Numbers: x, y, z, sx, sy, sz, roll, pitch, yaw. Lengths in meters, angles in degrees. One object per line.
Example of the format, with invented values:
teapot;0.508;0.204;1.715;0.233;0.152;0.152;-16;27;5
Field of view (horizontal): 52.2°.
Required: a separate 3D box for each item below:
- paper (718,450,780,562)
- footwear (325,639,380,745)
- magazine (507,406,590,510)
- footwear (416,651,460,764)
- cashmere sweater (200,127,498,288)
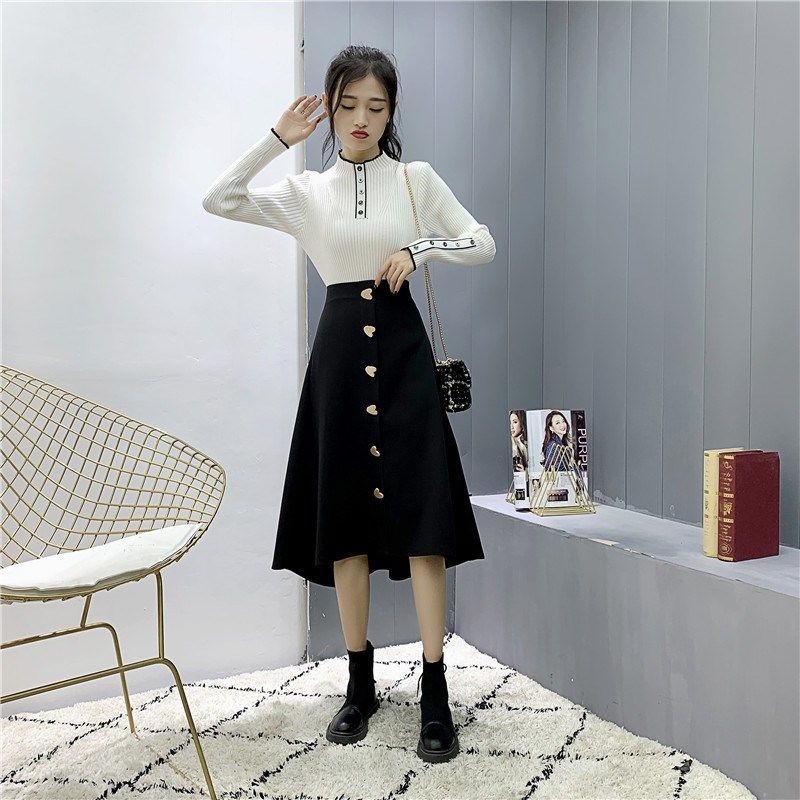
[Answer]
paper;0.839;0.258;1.970;0.173;0.358;0.103;2;-3;-24
footwear;-0.114;0.727;2.063;0.071;0.196;0.174;-1;11;26
magazine;0.458;0.177;2.532;0.218;0.429;0.263;-1;-1;9
footwear;0.085;0.727;1.955;0.073;0.175;0.215;-3;13;1
cashmere sweater;-0.117;-0.425;2.010;0.662;0.546;0.212;0;-1;0
